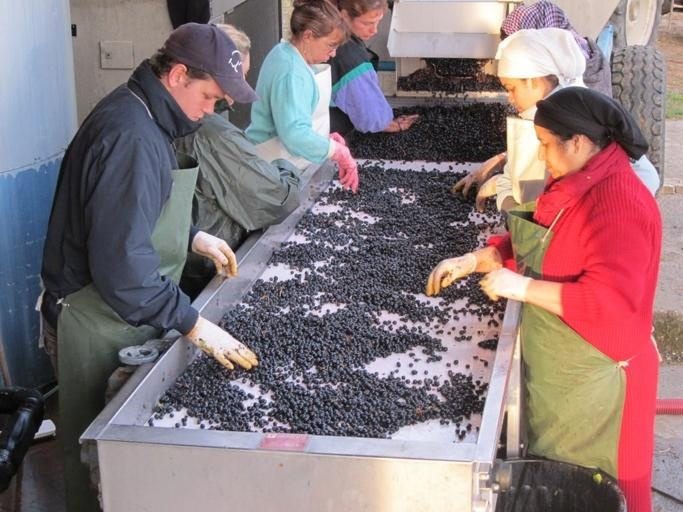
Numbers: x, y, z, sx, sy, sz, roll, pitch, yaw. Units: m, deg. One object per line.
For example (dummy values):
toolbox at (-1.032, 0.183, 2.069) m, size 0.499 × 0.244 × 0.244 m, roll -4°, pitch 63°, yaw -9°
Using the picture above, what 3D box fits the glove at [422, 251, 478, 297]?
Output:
glove at (0.582, 0.105, 3.643) m, size 0.290 × 0.084 × 0.177 m, roll -32°, pitch 61°, yaw -12°

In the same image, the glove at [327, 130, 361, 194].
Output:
glove at (0.028, -0.660, 4.897) m, size 0.106 × 0.411 × 0.241 m, roll -23°, pitch 24°, yaw 3°

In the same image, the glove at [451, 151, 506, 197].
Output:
glove at (1.002, -0.587, 4.967) m, size 0.125 × 0.489 × 0.146 m, roll 27°, pitch 25°, yaw -47°

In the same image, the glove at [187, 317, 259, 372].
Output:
glove at (-0.555, 0.437, 3.231) m, size 0.320 × 0.099 × 0.216 m, roll 38°, pitch 46°, yaw -14°

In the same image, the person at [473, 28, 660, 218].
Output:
person at (1.321, -0.938, 4.055) m, size 0.668 × 0.923 × 1.429 m, roll -1°, pitch 30°, yaw 22°

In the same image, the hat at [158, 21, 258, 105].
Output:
hat at (-0.612, -0.956, 3.253) m, size 0.410 × 0.260 × 0.282 m, roll 30°, pitch 21°, yaw -8°

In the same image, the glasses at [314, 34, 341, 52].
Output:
glasses at (-0.076, -1.433, 4.615) m, size 0.114 × 0.095 × 0.095 m, roll 16°, pitch 37°, yaw 30°
